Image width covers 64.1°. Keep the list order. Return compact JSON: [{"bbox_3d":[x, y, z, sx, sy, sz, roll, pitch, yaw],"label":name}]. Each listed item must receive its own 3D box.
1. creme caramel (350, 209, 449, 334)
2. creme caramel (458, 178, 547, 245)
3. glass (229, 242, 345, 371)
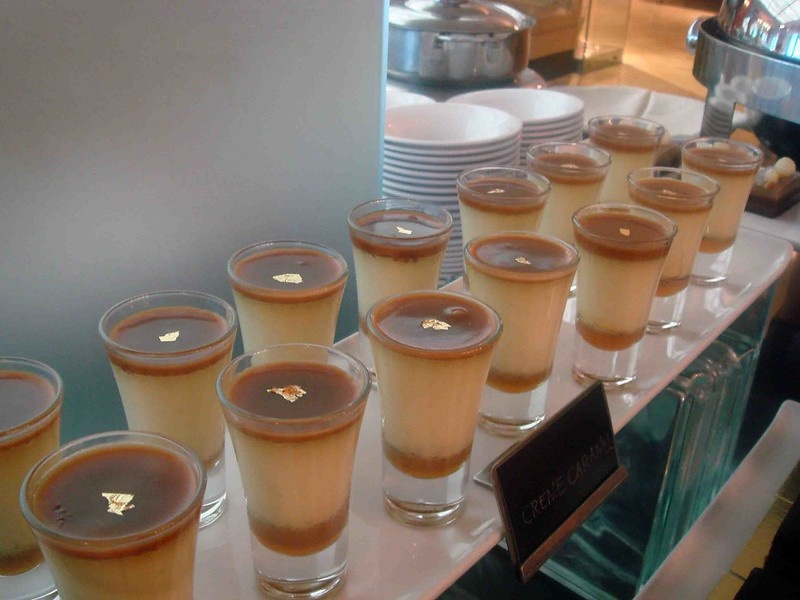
[{"bbox_3d":[0.004,-0.046,0.899,0.158,0.213,0.146,0,33,-7],"label":"creme caramel"},{"bbox_3d":[0.150,-0.135,0.978,0.116,0.093,0.122,-3,18,-7],"label":"creme caramel"},{"bbox_3d":[-0.117,-0.004,0.801,0.145,0.146,0.140,-1,25,-6],"label":"glass"}]
